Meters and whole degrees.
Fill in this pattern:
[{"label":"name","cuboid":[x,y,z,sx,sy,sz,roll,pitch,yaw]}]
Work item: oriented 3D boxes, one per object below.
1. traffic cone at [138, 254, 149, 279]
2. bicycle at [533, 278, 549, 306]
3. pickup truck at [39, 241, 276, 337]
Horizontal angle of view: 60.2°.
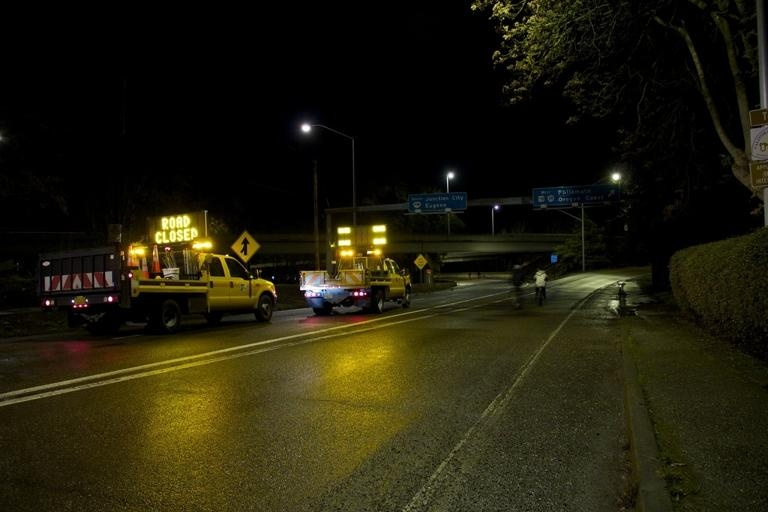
[{"label":"traffic cone","cuboid":[-7.458,0.328,20.498,0.230,0.738,1.238,-5,-1,-19]},{"label":"bicycle","cuboid":[7.416,1.771,32.111,0.735,1.133,1.654,2,9,22]},{"label":"pickup truck","cuboid":[-7.509,1.042,23.203,3.499,3.028,8.017,-5,-4,22]}]
